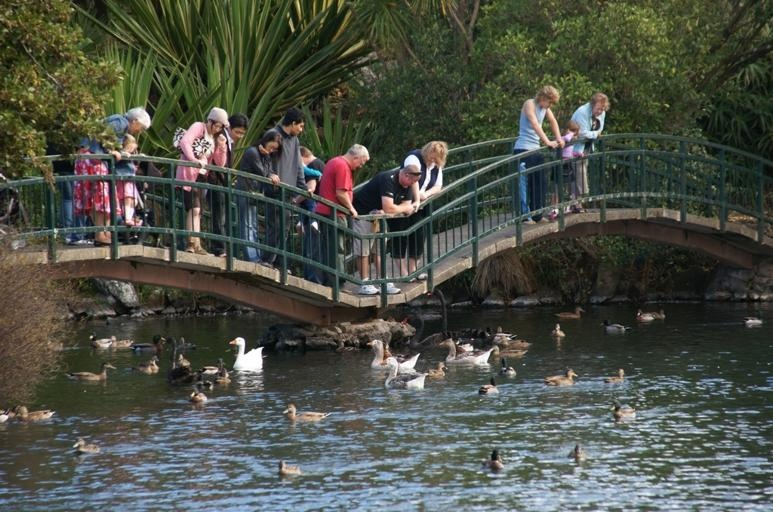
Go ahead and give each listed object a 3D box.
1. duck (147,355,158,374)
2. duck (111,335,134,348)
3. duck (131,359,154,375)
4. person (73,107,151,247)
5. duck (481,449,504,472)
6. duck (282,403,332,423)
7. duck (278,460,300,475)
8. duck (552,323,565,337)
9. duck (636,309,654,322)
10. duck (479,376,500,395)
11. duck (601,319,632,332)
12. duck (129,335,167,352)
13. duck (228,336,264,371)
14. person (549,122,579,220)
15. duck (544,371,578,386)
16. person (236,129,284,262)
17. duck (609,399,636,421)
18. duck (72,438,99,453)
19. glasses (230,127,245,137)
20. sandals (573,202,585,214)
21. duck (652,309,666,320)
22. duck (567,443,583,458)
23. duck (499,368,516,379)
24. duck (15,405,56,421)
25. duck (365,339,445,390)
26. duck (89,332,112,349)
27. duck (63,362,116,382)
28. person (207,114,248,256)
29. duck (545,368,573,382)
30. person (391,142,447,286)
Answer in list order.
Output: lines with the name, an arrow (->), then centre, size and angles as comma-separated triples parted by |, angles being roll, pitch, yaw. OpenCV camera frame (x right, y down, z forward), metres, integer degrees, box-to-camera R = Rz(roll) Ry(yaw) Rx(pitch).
duck -> -5.193, 2.445, 31.436 | 0.218, 0.302, 0.357 | 8, 10, 22
duck -> -6.416, 2.101, 34.526 | 0.476, 0.281, 0.272 | 7, -5, -34
duck -> -5.263, 2.462, 31.330 | 0.591, 0.326, 0.634 | 0, -4, -25
person -> -5.656, -1.689, 29.230 | 1.531, 2.724, 1.020 | -1, 11, -25
duck -> 1.879, 3.643, 25.024 | 0.238, 0.287, 0.415 | 2, -22, -1
duck -> -1.560, 3.025, 27.442 | 0.829, 0.521, 0.349 | 2, -3, 4
duck -> -1.727, 3.756, 24.903 | 0.203, 0.238, 0.348 | -23, -35, 35
duck -> 4.171, 1.849, 34.487 | 0.219, 0.267, 0.357 | -2, -6, 7
duck -> 6.740, 1.593, 37.036 | 0.362, 0.250, 0.252 | 9, -7, -41
duck -> 2.089, 2.688, 28.886 | 0.241, 0.285, 0.417 | 2, 2, 32
duck -> 5.681, 1.746, 35.417 | 0.647, 0.408, 0.257 | 1, 5, 22
duck -> -5.659, 2.182, 33.897 | 0.904, 0.570, 0.367 | -3, 32, 12
duck -> -3.035, 2.194, 31.310 | 0.818, 0.755, 0.777 | -3, -4, 19
person -> 4.359, -2.157, 34.204 | 0.750, 2.417, 0.668 | 7, -16, -8
duck -> 3.629, 2.565, 29.321 | 0.592, 0.396, 0.301 | 2, 5, -13
person -> -2.616, -1.242, 30.265 | 1.106, 2.563, 0.979 | 1, 1, 44
duck -> 4.505, 2.976, 27.185 | 0.282, 0.348, 0.485 | 7, 4, 38
duck -> -5.513, 3.496, 26.024 | 0.406, 0.247, 0.606 | 0, -4, -28
glasses -> -3.142, -2.658, 29.830 | 0.231, 0.303, 0.126 | 0, -34, -28
sandals -> 4.700, -1.183, 34.836 | 0.298, 0.089, 0.206 | -6, -16, 35
duck -> 7.152, 1.563, 37.269 | 0.221, 0.302, 0.378 | -2, 9, -17
duck -> 3.377, 3.507, 25.386 | 0.269, 0.268, 0.422 | -2, -4, 7
duck -> 2.580, 2.494, 30.251 | 0.354, 0.235, 0.661 | -2, -4, 4
duck -> -6.863, 3.123, 27.771 | 0.690, 0.439, 0.293 | 6, -17, 2
duck -> 0.256, 2.326, 30.178 | 1.156, 1.034, 2.107 | -1, -4, -1
duck -> -6.922, 2.065, 34.485 | 0.512, 0.357, 0.369 | 1, -8, 8
duck -> -6.334, 2.543, 30.640 | 1.178, 0.512, 0.380 | 1, 7, 7
person -> -3.246, -1.454, 29.980 | 0.873, 3.069, 0.882 | 3, -4, -11
duck -> 3.599, 2.500, 29.330 | 0.511, 0.351, 0.259 | -2, 8, -18
person -> 0.702, -0.943, 31.241 | 1.144, 3.114, 1.082 | 2, 2, 6
